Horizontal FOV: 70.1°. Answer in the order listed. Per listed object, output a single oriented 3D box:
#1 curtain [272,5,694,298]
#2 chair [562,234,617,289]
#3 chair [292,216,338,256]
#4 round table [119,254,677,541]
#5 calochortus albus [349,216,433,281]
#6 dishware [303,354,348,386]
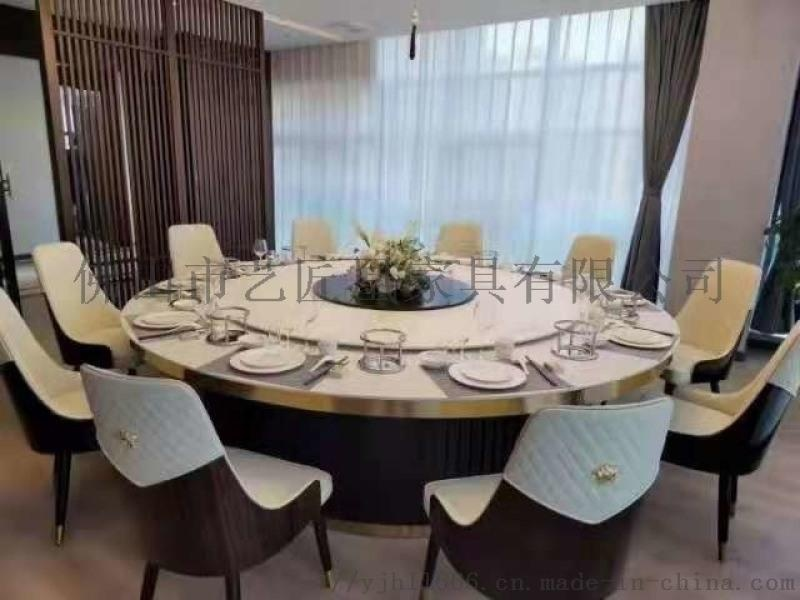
[{"bbox_3d":[0.710,-1.974,6.964,5.349,3.222,0.661,11,13,24],"label":"curtain"},{"bbox_3d":[1.581,-0.370,4.718,0.466,0.558,0.450,7,10,16],"label":"chair"},{"bbox_3d":[-0.843,-0.588,5.572,0.429,0.615,0.470,-2,10,-13],"label":"chair"},{"bbox_3d":[-0.025,0.491,2.790,2.118,0.921,1.668,3,16,5],"label":"round table"},{"bbox_3d":[-0.054,-0.341,3.948,0.389,0.351,0.498,0,26,-9],"label":"calochortus albus"},{"bbox_3d":[-0.357,0.319,2.711,0.074,0.043,0.255,10,19,18],"label":"dishware"}]
